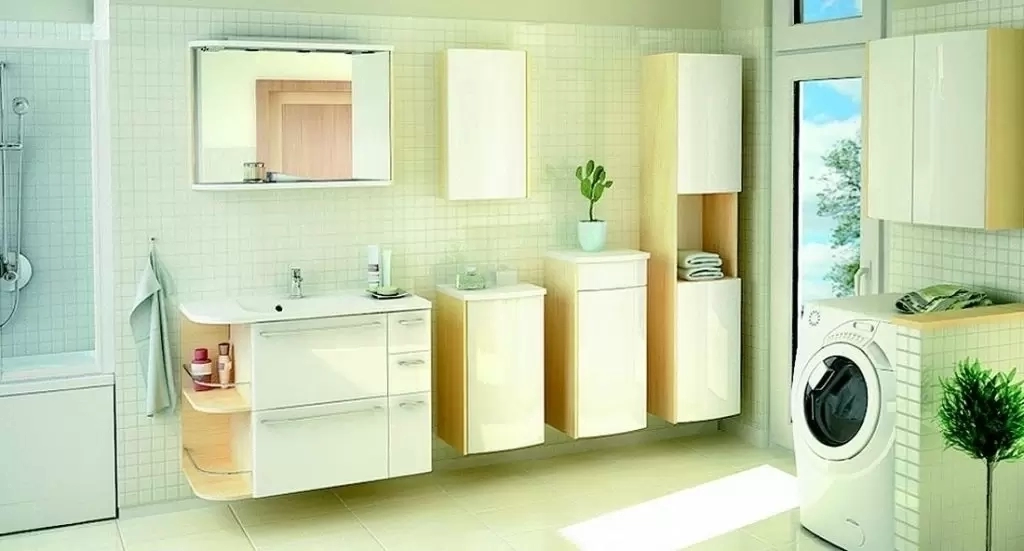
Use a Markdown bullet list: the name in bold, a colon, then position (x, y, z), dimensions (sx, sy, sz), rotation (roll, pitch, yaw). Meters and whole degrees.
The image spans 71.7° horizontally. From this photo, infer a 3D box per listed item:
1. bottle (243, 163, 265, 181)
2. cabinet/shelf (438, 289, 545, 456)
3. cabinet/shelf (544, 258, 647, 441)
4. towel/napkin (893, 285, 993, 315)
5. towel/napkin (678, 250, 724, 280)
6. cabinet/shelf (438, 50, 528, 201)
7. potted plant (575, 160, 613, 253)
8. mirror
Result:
- **bottle**: position (-1.898, -0.751, 5.187), dimensions (0.156, 0.124, 0.142), rotation (1, 3, 0)
- **cabinet/shelf**: position (-0.179, 0.713, 5.609), dimensions (0.969, 1.268, 0.449), rotation (-6, 11, -6)
- **cabinet/shelf**: position (0.670, 0.558, 5.755), dimensions (0.906, 1.475, 0.422), rotation (-3, 11, 9)
- **towel/napkin**: position (2.829, 0.153, 4.637), dimensions (0.389, 0.099, 0.273), rotation (-5, 7, -19)
- **towel/napkin**: position (1.588, -0.083, 6.000), dimensions (0.265, 0.104, 0.316), rotation (-1, 6, -11)
- **cabinet/shelf**: position (-0.200, -1.175, 5.564), dimensions (0.765, 1.150, 0.269), rotation (-5, 11, -3)
- **potted plant**: position (0.691, -0.590, 5.937), dimensions (0.329, 0.739, 0.436), rotation (-3, 11, 10)
- **mirror**: position (-1.689, -1.198, 5.207), dimensions (1.295, 0.795, 0.399), rotation (-2, 5, -18)
